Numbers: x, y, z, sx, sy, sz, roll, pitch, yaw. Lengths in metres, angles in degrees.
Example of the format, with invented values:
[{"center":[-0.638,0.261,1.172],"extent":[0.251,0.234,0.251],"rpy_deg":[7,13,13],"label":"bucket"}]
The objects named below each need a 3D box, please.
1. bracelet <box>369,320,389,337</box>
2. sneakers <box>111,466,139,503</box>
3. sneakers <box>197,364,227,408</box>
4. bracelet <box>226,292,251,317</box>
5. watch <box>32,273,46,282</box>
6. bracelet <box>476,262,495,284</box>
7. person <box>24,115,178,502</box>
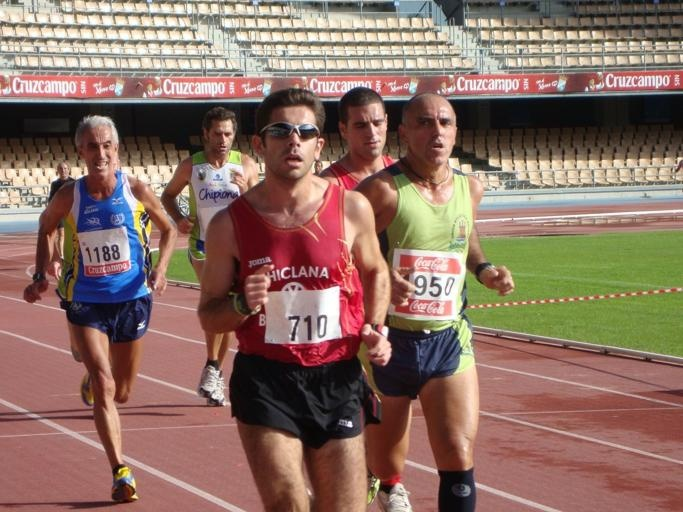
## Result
[{"center":[0.175,0.345,3.709],"extent":[0.054,0.029,0.071],"rpy_deg":[19,6,42],"label":"bracelet"},{"center":[-1.310,1.367,4.858],"extent":[0.126,0.245,0.166],"rpy_deg":[-1,31,-5],"label":"sneakers"},{"center":[-1.061,1.101,6.692],"extent":[0.162,0.183,0.397],"rpy_deg":[20,0,-27],"label":"sneakers"},{"center":[-0.436,0.219,3.491],"extent":[0.083,0.044,0.113],"rpy_deg":[48,-3,30],"label":"bracelet"},{"center":[-1.967,0.135,5.194],"extent":[0.066,0.043,0.065],"rpy_deg":[2,-2,-22],"label":"watch"},{"center":[0.825,0.103,4.663],"extent":[0.119,0.118,0.085],"rpy_deg":[-4,23,2],"label":"bracelet"},{"center":[-1.573,0.256,5.287],"extent":[0.909,2.309,1.192],"rpy_deg":[-1,9,-10],"label":"person"}]
